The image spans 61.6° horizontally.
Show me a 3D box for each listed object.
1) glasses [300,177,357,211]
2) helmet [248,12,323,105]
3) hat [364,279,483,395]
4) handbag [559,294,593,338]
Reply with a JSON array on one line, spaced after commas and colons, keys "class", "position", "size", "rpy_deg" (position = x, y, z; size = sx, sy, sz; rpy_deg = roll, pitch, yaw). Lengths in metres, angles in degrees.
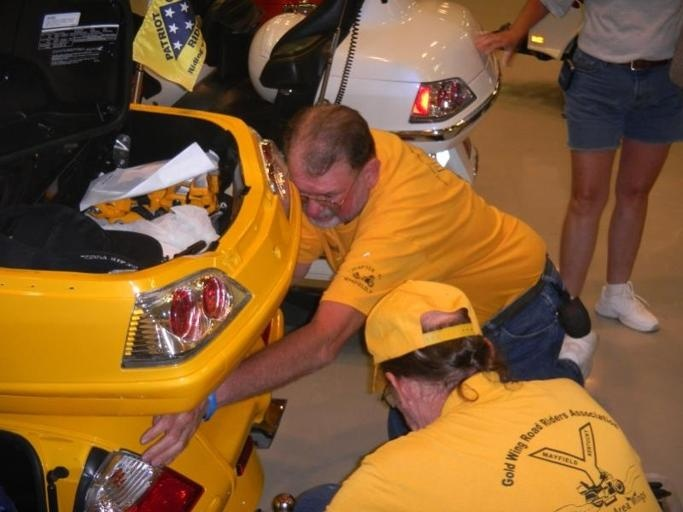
[{"class": "glasses", "position": [-0.058, -0.206, 1.947], "size": [0.183, 0.105, 0.042], "rpy_deg": [11, 24, 12]}, {"class": "helmet", "position": [-0.378, -1.026, 2.994], "size": [0.384, 0.503, 0.406], "rpy_deg": [12, 23, 23]}, {"class": "hat", "position": [0.213, 0.223, 1.551], "size": [0.206, 0.182, 0.291], "rpy_deg": [-19, -3, -31]}, {"class": "handbag", "position": [0.918, 0.248, 2.270], "size": [0.057, 0.164, 0.120], "rpy_deg": [-26, -11, -10]}]
